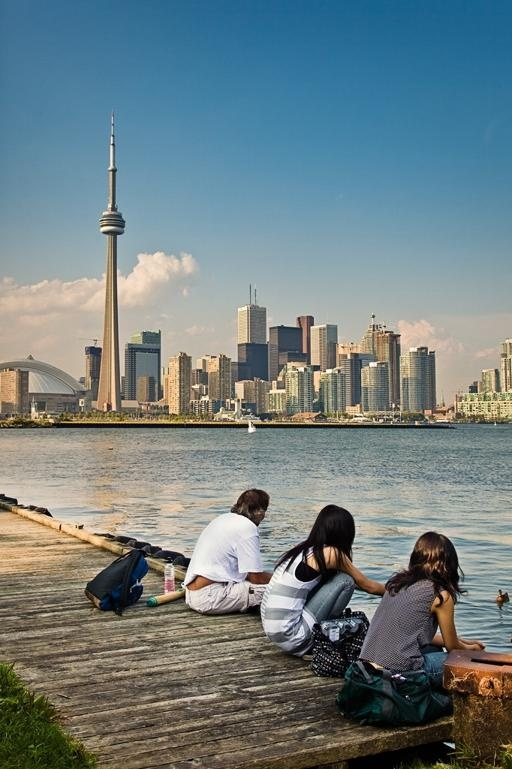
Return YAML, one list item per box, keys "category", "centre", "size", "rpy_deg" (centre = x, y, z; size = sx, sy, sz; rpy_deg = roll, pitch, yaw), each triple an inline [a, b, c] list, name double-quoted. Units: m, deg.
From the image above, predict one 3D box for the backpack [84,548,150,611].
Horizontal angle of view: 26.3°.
- category: "backpack"
  centre: [-1.430, 2.042, 11.356]
  size: [0.438, 0.519, 0.276]
  rpy_deg: [14, -34, 49]

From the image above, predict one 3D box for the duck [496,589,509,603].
- category: "duck"
  centre: [3.645, 3.107, 16.134]
  size: [0.142, 0.183, 0.253]
  rpy_deg: [4, -3, 15]

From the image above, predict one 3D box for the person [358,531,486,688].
- category: "person"
  centre: [1.129, 1.622, 8.013]
  size: [0.715, 1.076, 0.774]
  rpy_deg: [-1, -4, 11]

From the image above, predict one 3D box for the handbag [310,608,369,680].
- category: "handbag"
  centre: [0.616, 2.073, 8.855]
  size: [0.298, 0.539, 0.514]
  rpy_deg: [10, -2, 31]

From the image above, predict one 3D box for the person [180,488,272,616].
- category: "person"
  centre: [-0.207, 1.577, 10.250]
  size: [0.614, 1.214, 0.972]
  rpy_deg: [2, -4, -28]

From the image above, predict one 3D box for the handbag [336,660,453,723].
- category: "handbag"
  centre: [0.999, 2.228, 8.068]
  size: [0.710, 0.389, 0.934]
  rpy_deg: [2, -3, 28]

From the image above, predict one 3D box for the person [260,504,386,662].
- category: "person"
  centre: [0.645, 1.638, 9.191]
  size: [1.240, 1.286, 0.687]
  rpy_deg: [-5, 8, -27]
